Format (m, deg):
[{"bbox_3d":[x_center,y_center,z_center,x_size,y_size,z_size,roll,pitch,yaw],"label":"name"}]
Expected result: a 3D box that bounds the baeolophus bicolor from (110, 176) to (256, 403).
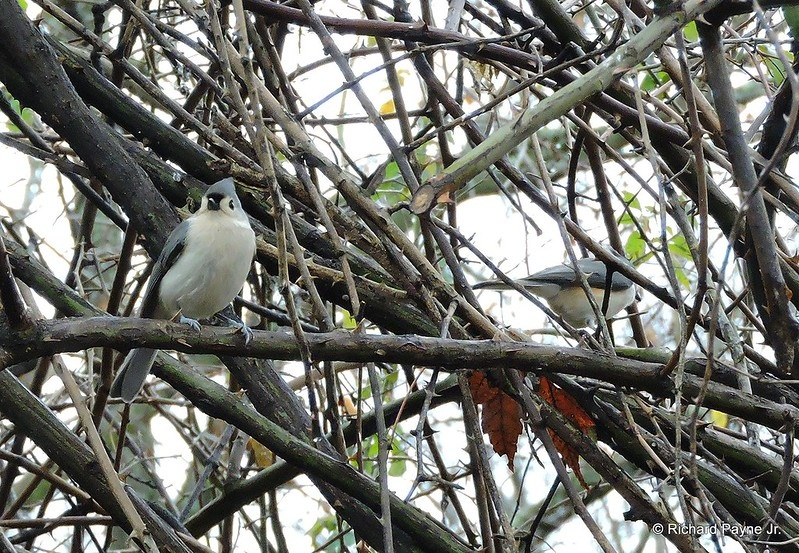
[{"bbox_3d":[-1.073,0.205,4.348,0.518,1.352,1.044,18,-58,-21],"label":"baeolophus bicolor"}]
